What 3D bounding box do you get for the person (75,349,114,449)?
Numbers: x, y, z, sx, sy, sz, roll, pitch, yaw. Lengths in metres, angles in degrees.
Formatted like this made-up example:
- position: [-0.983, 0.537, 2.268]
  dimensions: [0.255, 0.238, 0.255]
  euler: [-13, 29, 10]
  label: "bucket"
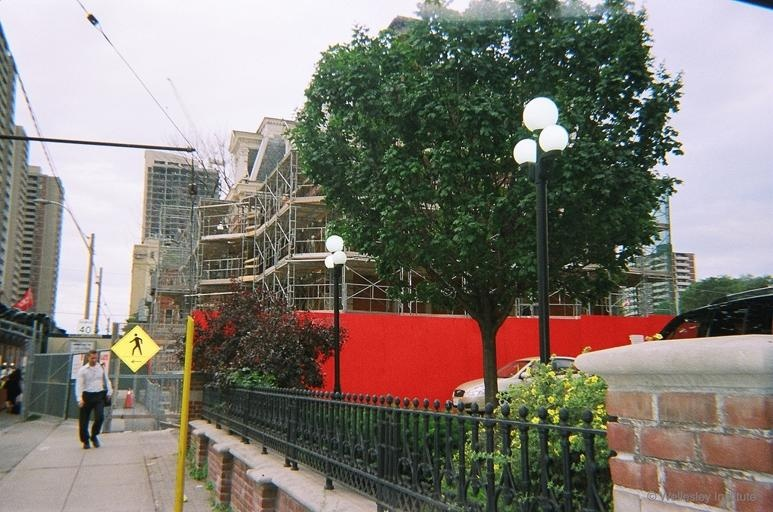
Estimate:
- position: [-7.019, 3.365, 14.497]
  dimensions: [0.701, 2.253, 1.039]
  euler: [3, -9, -14]
  label: "person"
